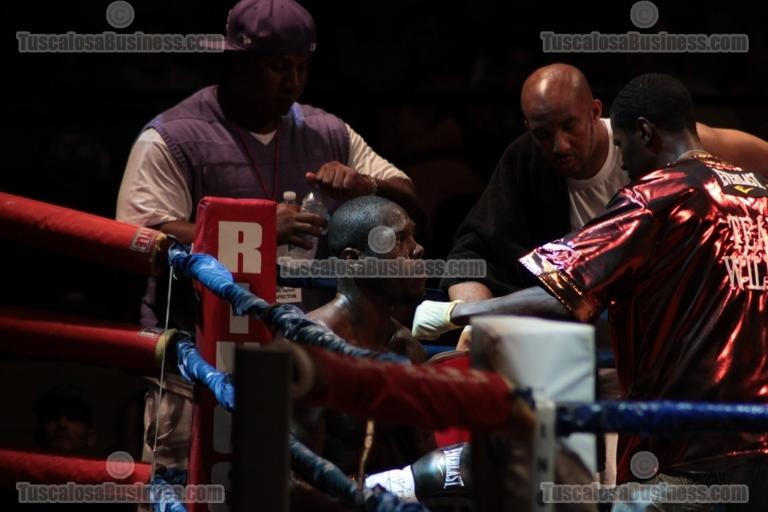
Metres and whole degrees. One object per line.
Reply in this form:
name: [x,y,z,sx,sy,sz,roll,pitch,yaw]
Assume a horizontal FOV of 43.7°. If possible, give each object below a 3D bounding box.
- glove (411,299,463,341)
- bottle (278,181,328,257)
glove: [0.291,0.265,4.553,0.219,0.100,0.173,1,14,30]
bottle: [-0.396,-0.165,4.703,0.236,0.434,0.198,9,25,7]
